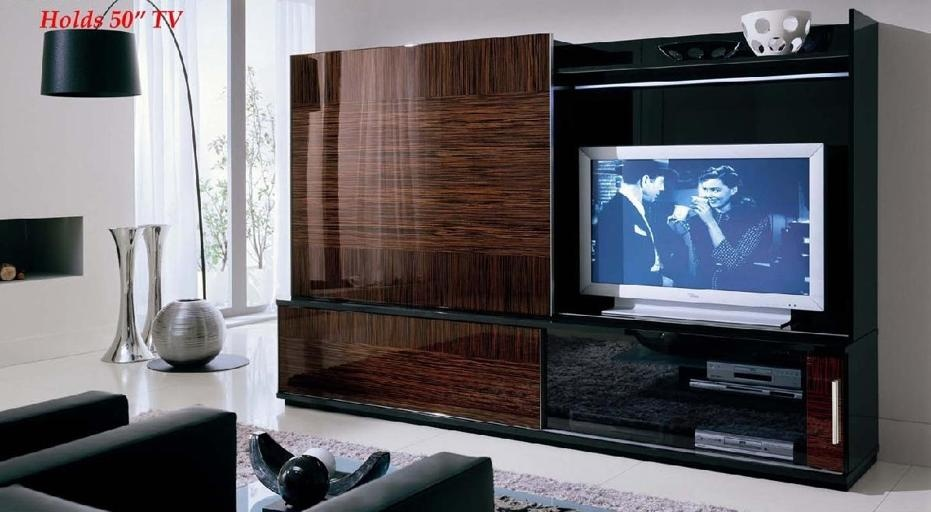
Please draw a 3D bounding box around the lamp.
[{"bbox_3d":[-3.163,-0.871,6.014,1.458,3.651,2.467,-4,9,-28],"label":"lamp"}]

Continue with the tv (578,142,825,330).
[{"bbox_3d":[1.527,-0.135,3.825,1.506,0.883,0.417,1,1,24],"label":"tv"}]
